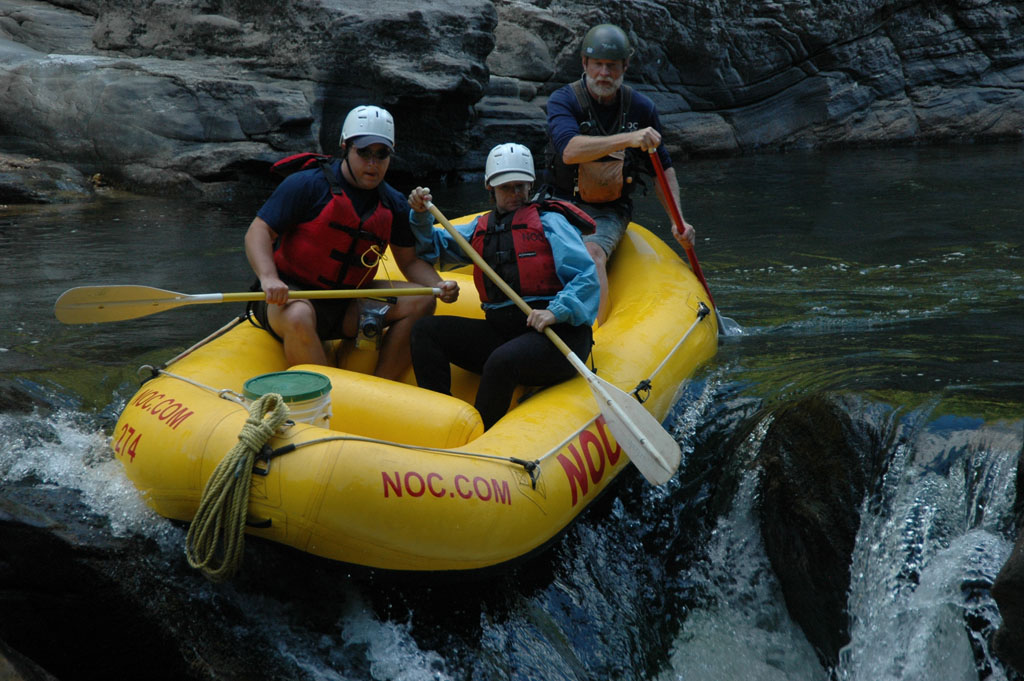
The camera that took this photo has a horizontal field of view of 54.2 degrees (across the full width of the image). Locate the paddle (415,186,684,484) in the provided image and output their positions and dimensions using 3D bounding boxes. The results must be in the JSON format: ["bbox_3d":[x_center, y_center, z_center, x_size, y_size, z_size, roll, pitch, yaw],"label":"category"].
[{"bbox_3d":[0.207,0.023,6.080,2.941,0.397,0.239,41,24,18],"label":"paddle"}]

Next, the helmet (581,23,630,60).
[{"bbox_3d":[0.633,-2.010,6.778,0.326,0.165,0.286,5,22,6],"label":"helmet"}]

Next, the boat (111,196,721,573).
[{"bbox_3d":[-0.369,0.014,6.653,2.613,0.741,3.637,26,32,18],"label":"boat"}]

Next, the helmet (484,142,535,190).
[{"bbox_3d":[-0.029,-1.118,6.225,0.371,0.202,0.449,1,15,1],"label":"helmet"}]

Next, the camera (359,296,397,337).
[{"bbox_3d":[-0.829,-0.144,6.237,0.177,0.273,0.102,17,-26,20],"label":"camera"}]

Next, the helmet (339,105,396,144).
[{"bbox_3d":[-0.886,-1.309,6.067,0.263,0.235,0.302,2,16,-10],"label":"helmet"}]
